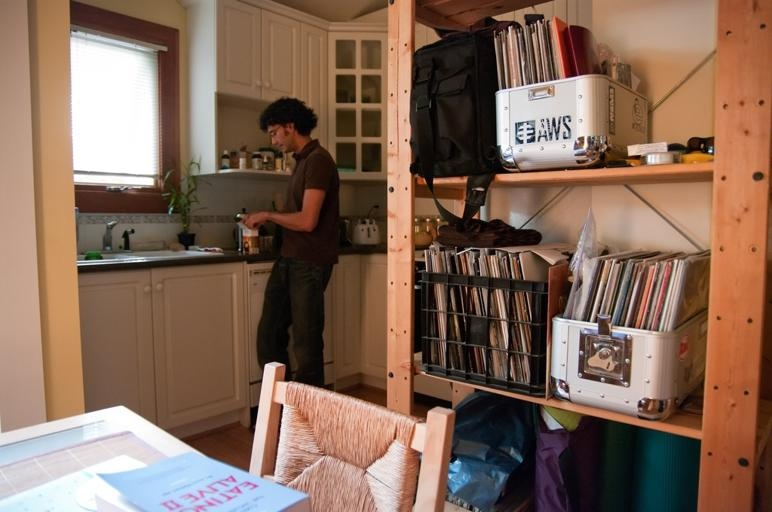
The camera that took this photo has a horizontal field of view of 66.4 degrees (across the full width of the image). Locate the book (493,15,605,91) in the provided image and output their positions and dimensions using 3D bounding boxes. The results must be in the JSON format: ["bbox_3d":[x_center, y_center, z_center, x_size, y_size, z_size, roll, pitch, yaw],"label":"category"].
[{"bbox_3d":[0.560,-0.696,2.118,0.318,0.120,0.246,-3,5,21],"label":"book"}]

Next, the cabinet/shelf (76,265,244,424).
[{"bbox_3d":[-1.223,0.452,3.139,0.804,0.782,0.468,-7,12,-37],"label":"cabinet/shelf"}]

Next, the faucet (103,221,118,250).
[{"bbox_3d":[-1.726,-0.123,3.709,0.086,0.180,0.128,-4,9,-15],"label":"faucet"}]

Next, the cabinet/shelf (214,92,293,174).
[{"bbox_3d":[-0.883,-0.817,3.915,0.191,0.552,0.583,0,3,36],"label":"cabinet/shelf"}]

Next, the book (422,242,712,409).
[{"bbox_3d":[0.620,0.263,2.066,0.647,0.297,0.660,4,4,41],"label":"book"}]

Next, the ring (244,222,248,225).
[{"bbox_3d":[-0.851,-0.200,3.596,0.010,0.011,0.010,0,14,0],"label":"ring"}]

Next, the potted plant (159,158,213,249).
[{"bbox_3d":[-1.359,-0.348,3.969,0.251,0.577,0.216,-5,9,-21],"label":"potted plant"}]

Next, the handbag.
[{"bbox_3d":[0.245,-0.585,2.343,0.509,0.660,0.491,-7,8,-40],"label":"handbag"}]
